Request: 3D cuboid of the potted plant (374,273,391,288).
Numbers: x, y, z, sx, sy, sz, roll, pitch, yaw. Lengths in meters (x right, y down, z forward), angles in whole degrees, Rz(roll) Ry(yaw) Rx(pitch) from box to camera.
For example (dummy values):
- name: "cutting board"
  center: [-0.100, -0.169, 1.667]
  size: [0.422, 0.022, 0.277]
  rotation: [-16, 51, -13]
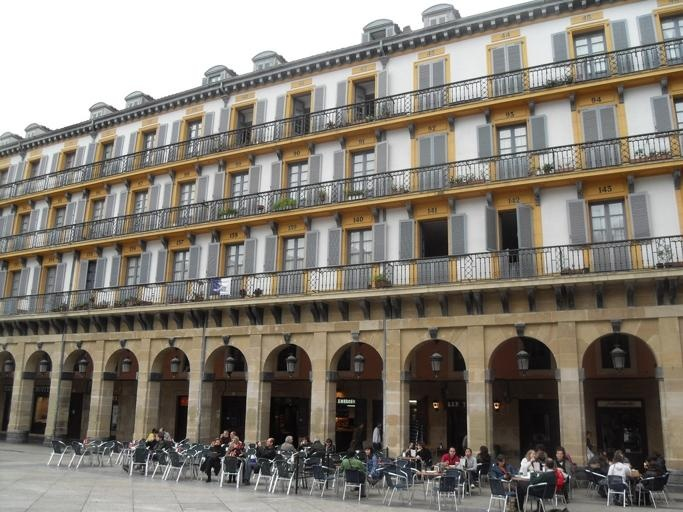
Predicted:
- name: "potted plant"
  center: [1.959, 1.259, 30.190]
  size: [0.704, 0.700, 0.563]
  rotation: [2, -20, -1]

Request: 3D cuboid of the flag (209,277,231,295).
- name: "flag"
  center: [-6.402, 1.605, 33.665]
  size: [0.943, 0.682, 0.035]
  rotation: [-5, -20, 18]
